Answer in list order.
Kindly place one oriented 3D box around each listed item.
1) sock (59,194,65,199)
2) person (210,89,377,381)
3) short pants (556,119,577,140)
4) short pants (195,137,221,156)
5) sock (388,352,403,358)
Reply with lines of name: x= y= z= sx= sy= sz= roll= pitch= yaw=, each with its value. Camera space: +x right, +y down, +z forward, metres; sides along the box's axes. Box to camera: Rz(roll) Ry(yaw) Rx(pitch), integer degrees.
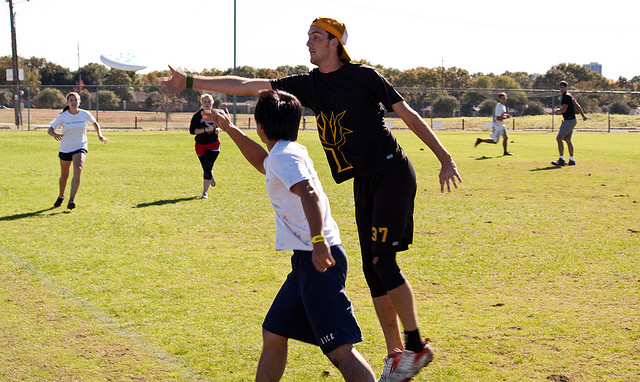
sock: x=-5.418 y=0.111 z=14.591 sx=0.124 sy=0.079 sz=0.113 roll=1 pitch=-7 yaw=6
person: x=-0.134 y=0.538 z=8.116 sx=1.319 sy=3.401 sz=0.782 roll=0 pitch=8 yaw=4
short pants: x=7.404 y=-1.837 z=20.784 sx=0.480 sy=0.609 sz=0.566 roll=2 pitch=8 yaw=18
short pants: x=-2.640 y=-1.011 z=16.394 sx=0.690 sy=0.420 sz=0.354 roll=-1 pitch=-3 yaw=-6
sock: x=0.946 y=2.073 z=8.790 sx=0.157 sy=0.055 sz=0.116 roll=3 pitch=7 yaw=19
